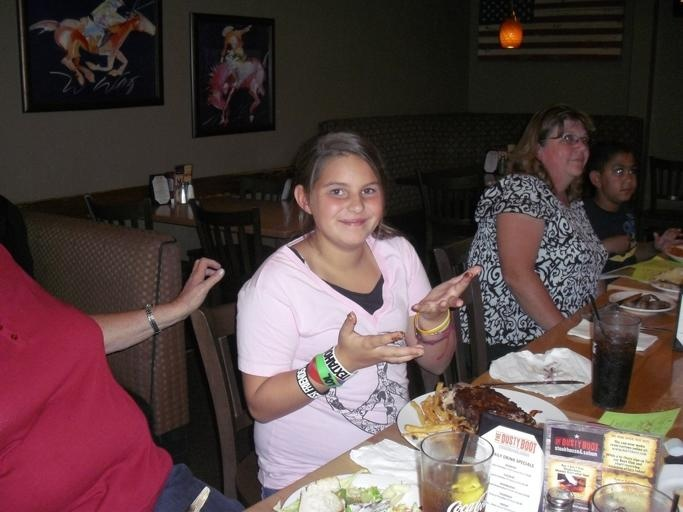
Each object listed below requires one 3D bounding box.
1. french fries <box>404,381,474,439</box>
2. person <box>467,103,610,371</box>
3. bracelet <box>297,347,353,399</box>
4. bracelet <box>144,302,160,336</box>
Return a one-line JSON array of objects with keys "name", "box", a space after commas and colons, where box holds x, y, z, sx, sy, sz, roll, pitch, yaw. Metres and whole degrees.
[{"name": "french fries", "box": [0.231, 0.391, 1.265, 0.190, 0.062, 0.185, -5, 14, -14]}, {"name": "person", "box": [0.993, -0.122, 2.436, 0.612, 1.126, 0.730, 6, 3, 35]}, {"name": "bracelet", "box": [-0.043, 0.292, 1.281, 0.103, 0.076, 0.143, 22, -46, -34]}, {"name": "bracelet", "box": [-0.669, 0.230, 1.789, 0.028, 0.094, 0.064, -20, 38, -40]}]
